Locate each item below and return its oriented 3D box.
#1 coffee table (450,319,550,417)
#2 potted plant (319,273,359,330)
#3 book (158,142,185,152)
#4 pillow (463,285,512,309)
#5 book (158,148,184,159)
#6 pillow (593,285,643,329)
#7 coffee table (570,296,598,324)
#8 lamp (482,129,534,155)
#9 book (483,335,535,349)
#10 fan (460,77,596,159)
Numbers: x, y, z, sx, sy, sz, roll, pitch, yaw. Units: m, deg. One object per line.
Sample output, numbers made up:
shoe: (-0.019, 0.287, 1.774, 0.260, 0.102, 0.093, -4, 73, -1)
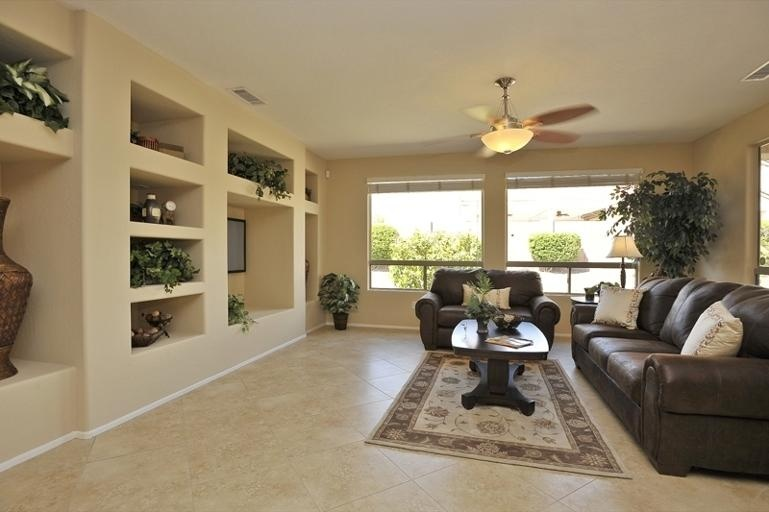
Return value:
coffee table: (1.133, 1.088, 4.977, 0.821, 0.531, 1.149, -1, 4, 15)
potted plant: (-0.705, 0.731, 8.167, 0.846, 0.914, 0.807, 1, -7, -5)
book: (-2.250, -1.121, 5.268, 0.146, 0.035, 0.155, -1, -1, 30)
pillow: (1.293, 0.516, 6.305, 0.392, 0.193, 0.109, 4, -23, 4)
book: (-2.190, -1.055, 5.156, 0.187, 0.046, 0.206, 1, 0, 33)
pillow: (2.624, 0.588, 5.669, 0.164, 0.435, 0.460, 37, -17, -29)
coffee table: (2.438, 0.641, 6.221, 0.419, 0.279, 0.385, 4, -11, -20)
lamp: (1.218, -1.184, 5.088, 0.450, 0.193, 0.360, 1, 0, -8)
book: (1.225, 0.835, 4.914, 0.374, 0.053, 0.438, 1, 0, -41)
fan: (1.516, -1.340, 5.145, 1.009, 0.447, 1.069, -2, -1, 36)
